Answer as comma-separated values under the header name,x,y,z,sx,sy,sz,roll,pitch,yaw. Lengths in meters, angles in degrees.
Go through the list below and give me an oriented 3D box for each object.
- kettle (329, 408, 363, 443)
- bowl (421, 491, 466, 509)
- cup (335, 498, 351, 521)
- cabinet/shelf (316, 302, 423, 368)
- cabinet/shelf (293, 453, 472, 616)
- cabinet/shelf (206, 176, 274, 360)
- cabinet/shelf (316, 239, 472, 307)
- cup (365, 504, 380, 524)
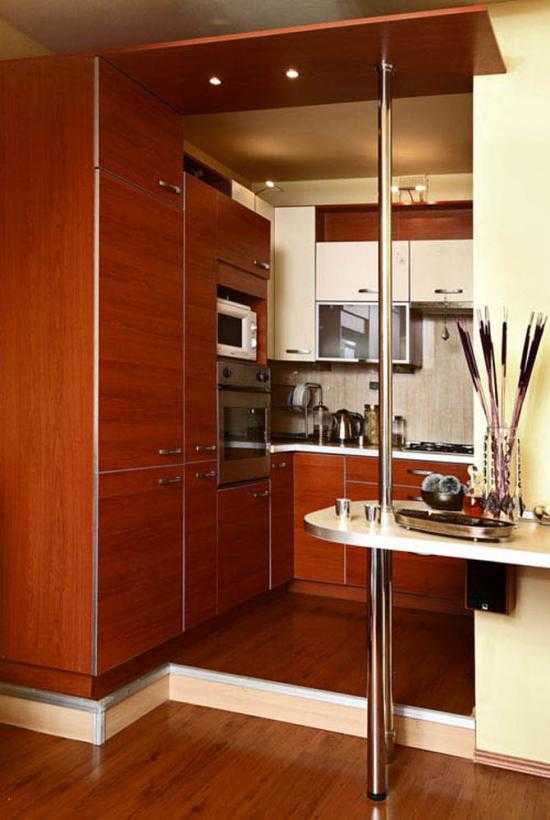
name,x,y,z,sx,sy,sz,roll,pitch,yaw
kettle,0.447,0.110,4.241,0.208,0.210,0.170,2,-5,9
bowl,0.445,0.244,1.818,0.127,0.049,0.062,3,1,43
cup,0.192,0.269,1.855,0.053,0.062,0.042,0,1,8
cabinet/shelf,0.540,-0.439,4.298,0.585,0.394,0.343,1,-11,4
cabinet/shelf,0.412,0.682,3.910,0.813,0.753,0.276,7,-17,-32
cabinet/shelf,-0.301,-0.754,3.665,0.209,0.716,0.385,23,11,36
cabinet/shelf,0.719,-0.778,3.872,0.667,0.274,0.205,1,2,15
cup,0.249,0.265,1.738,0.035,0.041,0.062,2,1,10
